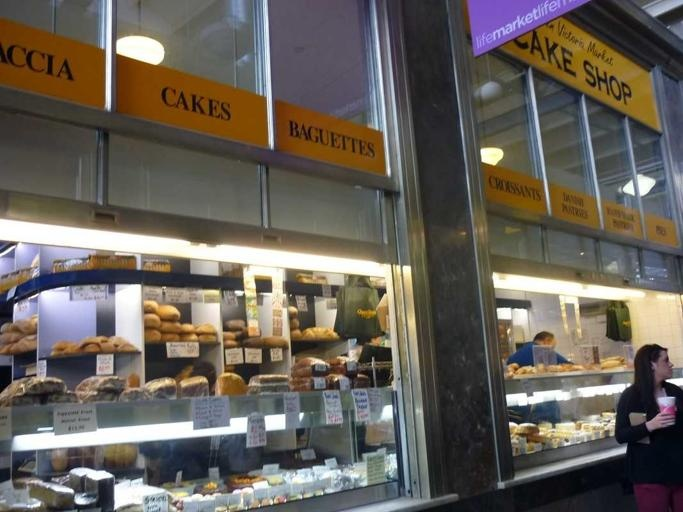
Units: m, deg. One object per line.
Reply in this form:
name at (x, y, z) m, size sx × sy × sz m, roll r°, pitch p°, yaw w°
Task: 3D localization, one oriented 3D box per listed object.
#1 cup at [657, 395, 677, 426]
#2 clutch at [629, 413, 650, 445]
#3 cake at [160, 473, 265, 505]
cup at (2.490, 1.178, 4.657) m, size 0.149 × 0.188 × 0.160 m, roll 3°, pitch -8°, yaw 0°
clutch at (2.383, 1.376, 4.780) m, size 0.030 × 0.310 × 0.212 m, roll 11°, pitch -11°, yaw -22°
cake at (-0.811, 1.493, 3.847) m, size 0.659 × 0.134 × 0.396 m, roll 0°, pitch -15°, yaw -20°
